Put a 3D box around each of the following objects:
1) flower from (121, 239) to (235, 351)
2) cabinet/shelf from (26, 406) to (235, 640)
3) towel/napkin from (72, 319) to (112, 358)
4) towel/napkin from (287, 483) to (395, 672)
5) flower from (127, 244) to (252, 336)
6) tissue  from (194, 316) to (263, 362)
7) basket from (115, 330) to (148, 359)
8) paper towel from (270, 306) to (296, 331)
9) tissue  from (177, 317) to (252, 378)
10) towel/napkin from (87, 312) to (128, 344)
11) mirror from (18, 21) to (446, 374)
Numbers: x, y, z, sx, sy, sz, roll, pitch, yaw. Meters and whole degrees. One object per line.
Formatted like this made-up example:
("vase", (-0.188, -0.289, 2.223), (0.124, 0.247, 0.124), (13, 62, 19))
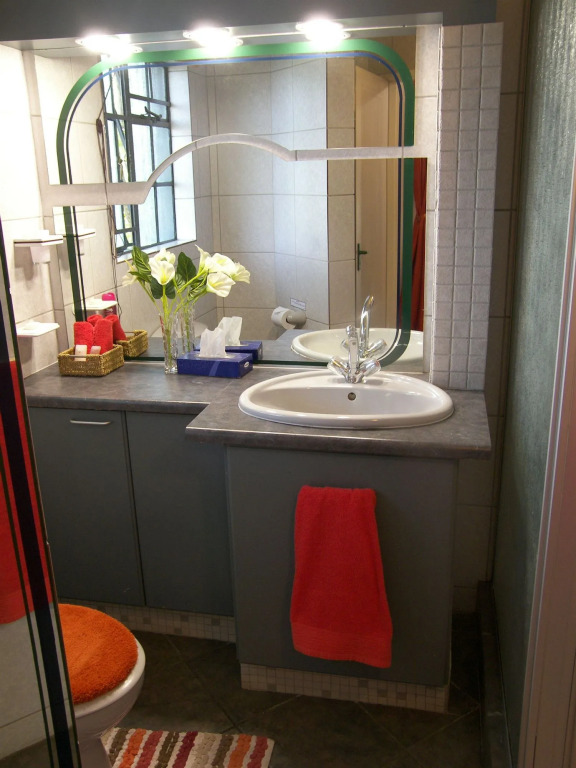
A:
("flower", (-0.372, -0.319, 2.203), (0.369, 0.374, 0.370), (-5, 14, -30))
("cabinet/shelf", (-0.584, 0.487, 2.099), (0.278, 0.758, 0.754), (-36, -38, 30))
("towel/napkin", (-0.722, -0.161, 2.250), (0.134, 0.140, 0.046), (-3, -3, -5))
("towel/napkin", (0.139, 0.522, 1.630), (0.323, 0.487, 0.140), (3, 3, 12))
("flower", (-0.373, -0.306, 2.195), (0.319, 0.209, 0.325), (2, 6, -26))
("tissue ", (-0.216, -0.162, 2.191), (0.285, 0.182, 0.149), (3, 30, 3))
("basket", (-0.600, -0.152, 2.334), (0.097, 0.078, 0.129), (13, 19, 43))
("paper towel", (-0.019, -0.257, 2.250), (0.095, 0.092, 0.073), (11, 27, 40))
("tissue ", (-0.263, -0.135, 2.193), (0.126, 0.175, 0.238), (7, 4, -34))
("towel/napkin", (-0.685, -0.213, 2.283), (0.075, 0.109, 0.061), (-19, 33, -19))
("mirror", (-0.160, -0.664, 2.064), (1.158, 1.026, 0.033), (3, 23, 10))
